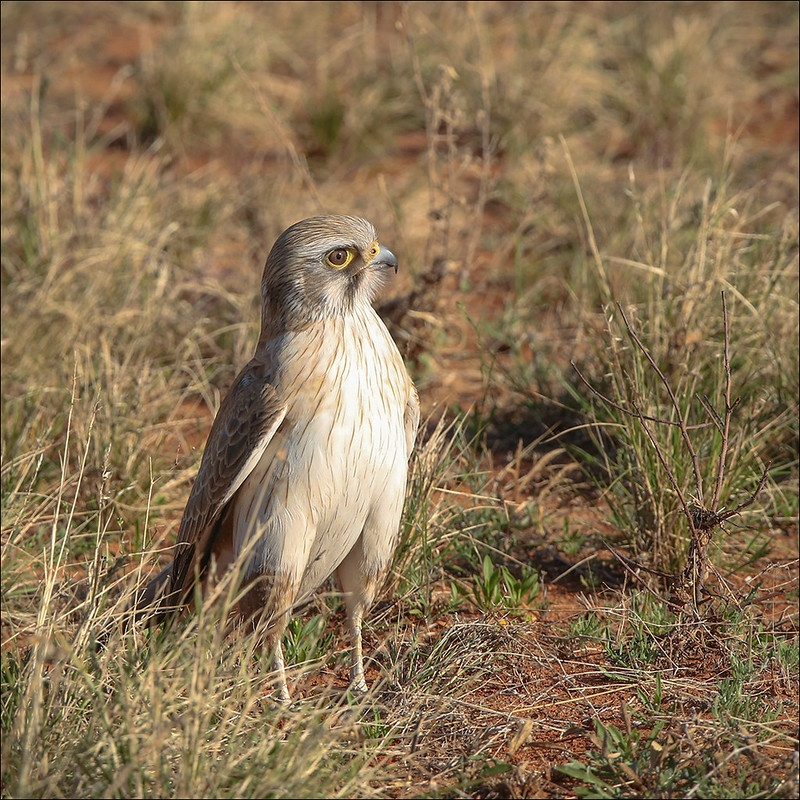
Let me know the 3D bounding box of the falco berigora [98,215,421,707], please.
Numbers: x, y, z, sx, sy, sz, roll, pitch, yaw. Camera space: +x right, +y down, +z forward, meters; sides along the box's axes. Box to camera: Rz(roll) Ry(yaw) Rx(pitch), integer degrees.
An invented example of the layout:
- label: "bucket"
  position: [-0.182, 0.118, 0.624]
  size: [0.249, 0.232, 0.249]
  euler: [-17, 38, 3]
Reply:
- label: "falco berigora"
  position: [-0.391, 0.294, 3.787]
  size: [0.950, 1.799, 0.783]
  euler: [-4, 20, -1]
